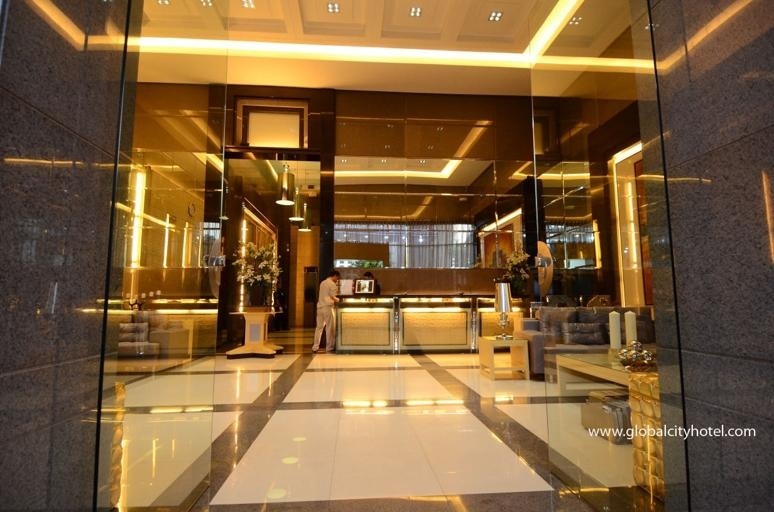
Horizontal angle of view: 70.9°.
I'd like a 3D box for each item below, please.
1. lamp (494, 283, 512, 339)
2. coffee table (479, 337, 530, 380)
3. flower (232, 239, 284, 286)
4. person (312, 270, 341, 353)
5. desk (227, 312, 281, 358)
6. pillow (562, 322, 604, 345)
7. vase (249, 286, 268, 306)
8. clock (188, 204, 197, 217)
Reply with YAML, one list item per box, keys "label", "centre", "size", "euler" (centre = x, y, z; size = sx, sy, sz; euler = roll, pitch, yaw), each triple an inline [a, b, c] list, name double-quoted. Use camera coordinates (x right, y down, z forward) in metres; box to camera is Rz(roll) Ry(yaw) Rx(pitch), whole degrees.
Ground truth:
- label: "lamp"
  centre: [1.526, 0.708, 7.198]
  size: [0.244, 0.784, 0.257]
  euler: [1, -5, -9]
- label: "coffee table"
  centre: [1.511, 1.364, 7.116]
  size: [0.554, 0.321, 0.329]
  euler: [-1, -5, 11]
- label: "flower"
  centre: [-2.108, 0.134, 9.118]
  size: [0.743, 0.960, 0.969]
  euler: [-1, 1, -22]
- label: "person"
  centre: [-1.052, 0.965, 9.466]
  size: [0.493, 1.388, 0.407]
  euler: [-2, -6, 4]
- label: "desk"
  centre: [-2.153, 1.273, 9.005]
  size: [1.029, 0.773, 1.009]
  euler: [2, -6, -17]
- label: "pillow"
  centre: [1.178, 0.467, 3.278]
  size: [0.066, 0.140, 0.243]
  euler: [-16, 1, -34]
- label: "vase"
  centre: [-2.061, 0.640, 8.717]
  size: [0.315, 0.294, 0.289]
  euler: [-6, -6, 35]
- label: "clock"
  centre: [-1.103, -0.262, 3.081]
  size: [0.011, 0.078, 0.076]
  euler: [-4, -5, 14]
